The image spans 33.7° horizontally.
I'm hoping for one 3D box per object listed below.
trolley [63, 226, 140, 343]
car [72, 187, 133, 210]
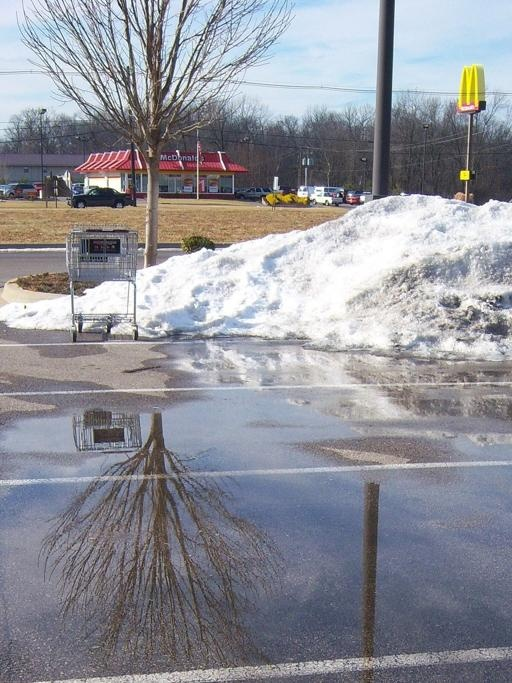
[{"bbox_3d":[-1.986,-0.803,10.978,0.892,1.483,1.041,-3,13,-18],"label":"trolley"},{"bbox_3d":[-9.950,-9.223,54.177,3.729,1.304,1.782,-1,9,-13],"label":"car"}]
